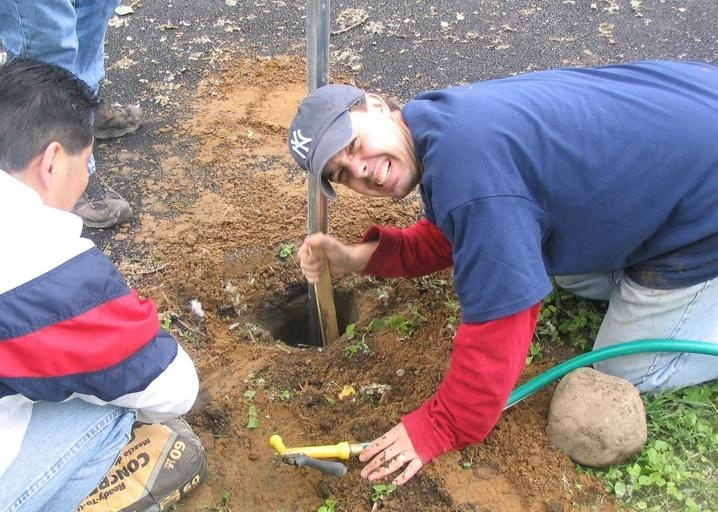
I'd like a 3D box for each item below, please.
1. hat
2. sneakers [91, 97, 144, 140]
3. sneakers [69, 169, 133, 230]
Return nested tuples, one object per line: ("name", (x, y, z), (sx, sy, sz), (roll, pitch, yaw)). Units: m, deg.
("hat", (-0.209, -0.596, 3.172), (0.298, 0.454, 0.607), (34, 24, -2))
("sneakers", (-1.843, -1.043, 4.895), (0.414, 0.191, 0.284), (-10, 12, -14))
("sneakers", (-1.760, -0.360, 4.407), (0.507, 0.239, 0.224), (11, 39, 19))
